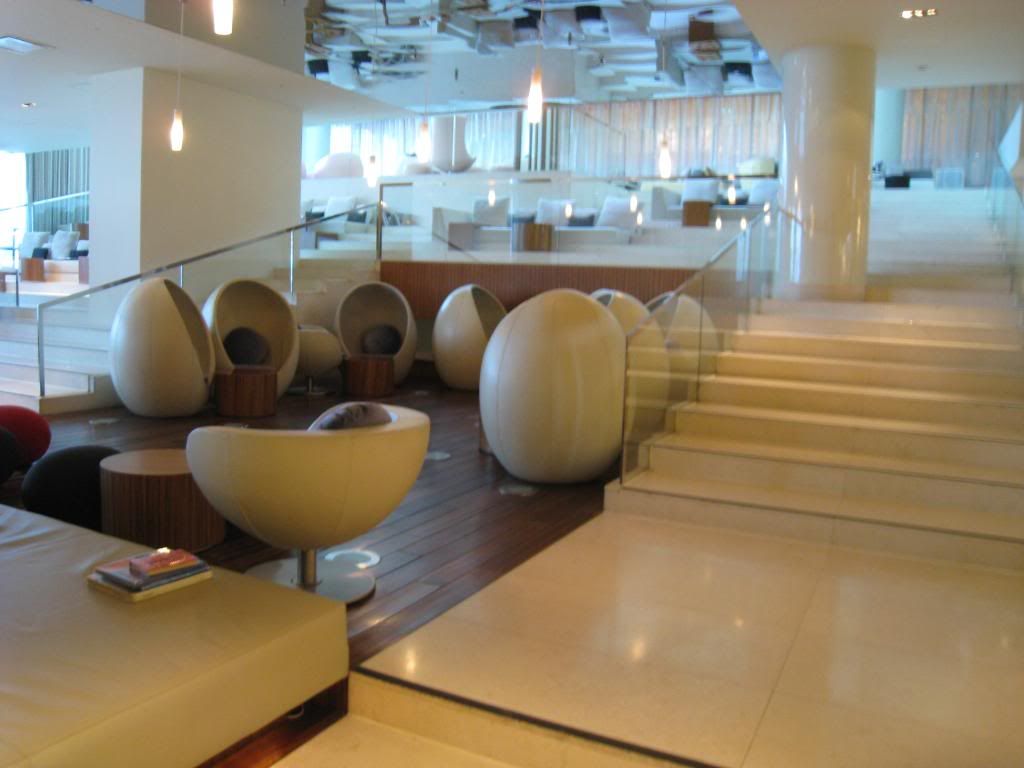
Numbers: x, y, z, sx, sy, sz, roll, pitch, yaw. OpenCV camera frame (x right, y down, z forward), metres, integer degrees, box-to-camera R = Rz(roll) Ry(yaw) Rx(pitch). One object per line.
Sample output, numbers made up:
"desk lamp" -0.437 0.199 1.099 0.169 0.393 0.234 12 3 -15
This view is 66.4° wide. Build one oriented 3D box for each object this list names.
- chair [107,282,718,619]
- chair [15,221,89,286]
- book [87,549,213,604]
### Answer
"chair" -0.459 0.166 4.201 1.314 1.373 3.172 5 9 38
"chair" -8.939 -2.609 15.352 1.219 1.080 3.614 -5 13 -29
"book" -1.279 0.683 2.807 0.212 0.079 0.225 3 2 39
